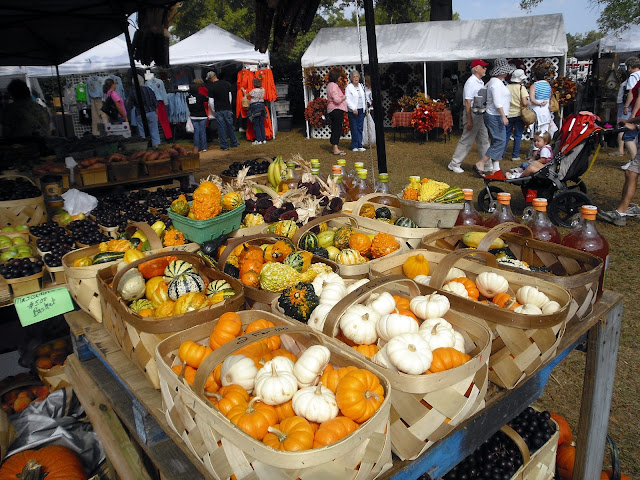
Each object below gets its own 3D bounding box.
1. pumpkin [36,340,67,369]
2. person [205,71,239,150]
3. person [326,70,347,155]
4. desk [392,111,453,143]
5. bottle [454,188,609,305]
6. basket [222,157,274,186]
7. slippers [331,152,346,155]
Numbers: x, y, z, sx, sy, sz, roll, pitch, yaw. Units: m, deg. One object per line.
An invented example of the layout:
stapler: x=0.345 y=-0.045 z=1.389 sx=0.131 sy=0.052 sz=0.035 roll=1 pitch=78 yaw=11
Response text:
pumpkin: x=-2.532 y=1.076 z=3.798 sx=0.238 sy=0.117 sz=0.275 roll=-5 pitch=24 yaw=-9
person: x=-3.567 y=-4.638 z=14.587 sx=0.745 sy=2.724 sz=0.983 roll=-7 pitch=25 yaw=-11
person: x=0.509 y=-3.989 z=12.657 sx=0.649 sy=2.635 sz=0.730 roll=-1 pitch=24 yaw=3
desk: x=4.137 y=-4.388 z=16.009 sx=2.089 sy=0.971 sz=1.941 roll=9 pitch=38 yaw=20
bottle: x=1.138 y=0.016 z=2.321 sx=0.485 sy=0.397 sz=0.820 roll=-27 pitch=37 yaw=-32
basket: x=-0.719 y=-0.730 z=4.040 sx=0.413 sy=0.126 sz=0.421 roll=-2 pitch=9 yaw=33
slippers: x=0.632 y=-2.869 z=13.277 sx=0.373 sy=0.067 sz=0.163 roll=-5 pitch=12 yaw=-23
